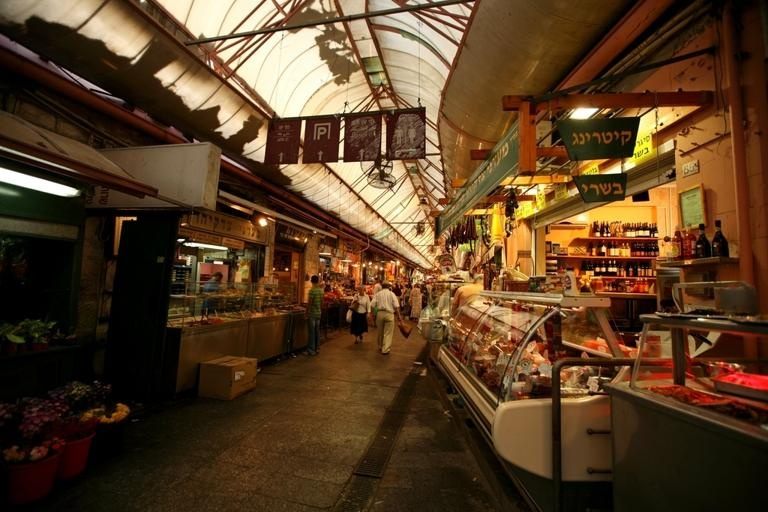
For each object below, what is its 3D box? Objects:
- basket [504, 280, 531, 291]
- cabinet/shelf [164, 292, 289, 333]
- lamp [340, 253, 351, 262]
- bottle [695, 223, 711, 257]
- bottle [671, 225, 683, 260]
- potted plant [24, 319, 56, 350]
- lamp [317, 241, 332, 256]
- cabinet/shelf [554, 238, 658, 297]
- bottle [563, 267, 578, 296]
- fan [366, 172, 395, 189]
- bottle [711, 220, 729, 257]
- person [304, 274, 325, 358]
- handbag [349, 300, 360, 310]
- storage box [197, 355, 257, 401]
[{"bbox_3d":[1.792,0.382,6.818,0.145,0.170,0.662,1,-5,-10],"label":"basket"},{"bbox_3d":[-2.551,0.832,8.707,0.379,0.621,2.869,-2,-6,19],"label":"cabinet/shelf"},{"bbox_3d":[-1.456,0.016,19.687,0.285,0.291,0.295,0,-10,3],"label":"lamp"},{"bbox_3d":[3.738,-0.191,5.994,0.125,0.410,0.224,-1,-6,7],"label":"bottle"},{"bbox_3d":[3.628,-0.180,6.301,0.121,0.401,0.252,-3,-7,29],"label":"bottle"},{"bbox_3d":[-4.598,1.049,6.865,0.372,0.384,0.402,-5,-8,31],"label":"potted plant"},{"bbox_3d":[-1.941,-0.244,16.842,0.362,0.377,0.370,0,-10,-7],"label":"lamp"},{"bbox_3d":[4.114,0.197,9.697,1.945,1.066,0.303,-1,-4,40],"label":"cabinet/shelf"},{"bbox_3d":[1.981,0.268,5.386,0.119,0.288,0.243,-2,-6,20],"label":"bottle"},{"bbox_3d":[-0.028,-1.301,8.648,0.322,0.114,0.348,19,-22,-36],"label":"fan"},{"bbox_3d":[3.848,-0.222,5.827,0.164,0.428,0.071,-4,-7,32],"label":"bottle"},{"bbox_3d":[-1.475,1.217,10.778,0.287,1.663,0.787,1,-6,-9],"label":"person"},{"bbox_3d":[-0.726,1.227,12.477,0.194,0.336,0.282,11,-11,-14],"label":"handbag"},{"bbox_3d":[-2.398,1.858,7.882,0.598,0.474,0.800,4,-2,11],"label":"storage box"}]
